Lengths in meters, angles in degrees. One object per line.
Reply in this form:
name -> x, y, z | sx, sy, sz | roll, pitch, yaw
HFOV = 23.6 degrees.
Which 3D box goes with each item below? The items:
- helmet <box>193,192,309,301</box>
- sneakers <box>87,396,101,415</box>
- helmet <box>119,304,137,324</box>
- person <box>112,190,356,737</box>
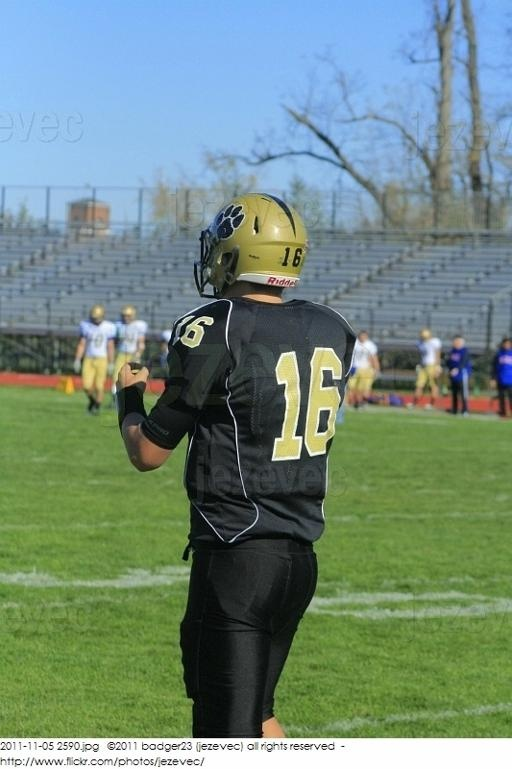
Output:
helmet -> 0.015, -0.386, 3.419 | 0.263, 0.252, 0.320 | -2, 12, -35
sneakers -> -1.370, 0.173, 10.435 | 0.077, 0.136, 0.125 | 7, 40, -18
helmet -> -0.924, -0.510, 8.877 | 0.125, 0.123, 0.153 | 3, 5, -4
person -> -0.020, 0.366, 3.219 | 0.643, 1.187, 0.327 | -2, -2, -6
